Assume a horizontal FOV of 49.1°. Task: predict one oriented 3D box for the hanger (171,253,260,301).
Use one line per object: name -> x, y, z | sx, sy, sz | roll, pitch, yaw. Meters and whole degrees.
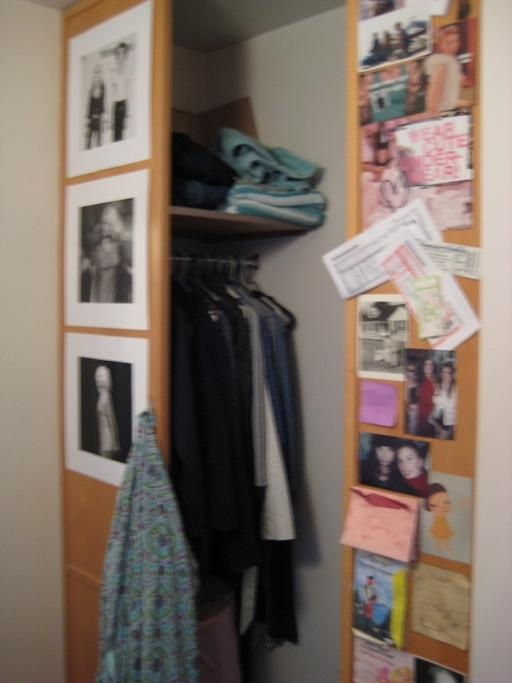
hanger -> -0.118, -0.206, 1.779 | 0.118, 0.134, 0.368 | 0, 2, 39
